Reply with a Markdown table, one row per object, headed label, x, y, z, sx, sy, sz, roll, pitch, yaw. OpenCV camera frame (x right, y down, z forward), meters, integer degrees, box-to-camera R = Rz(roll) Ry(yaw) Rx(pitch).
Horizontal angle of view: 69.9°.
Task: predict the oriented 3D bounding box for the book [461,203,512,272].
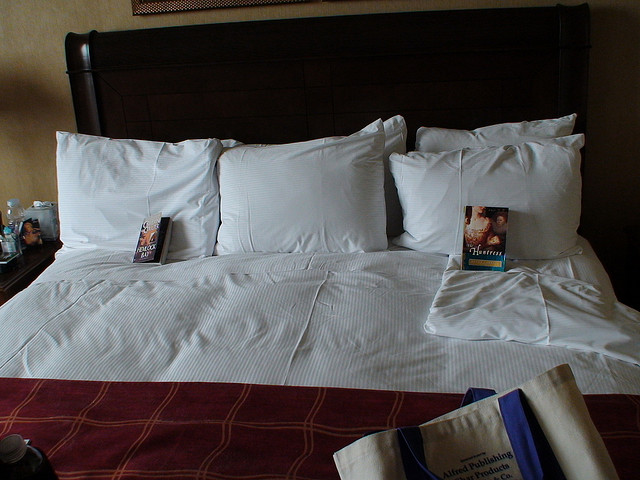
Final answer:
| label | x | y | z | sx | sy | sz | roll | pitch | yaw |
| --- | --- | --- | --- | --- | --- | --- | --- | --- | --- |
| book | 0.677 | -0.007 | 1.894 | 0.172 | 0.245 | 0.133 | 1 | 15 | 17 |

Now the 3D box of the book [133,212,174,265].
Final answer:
| label | x | y | z | sx | sy | sz | roll | pitch | yaw |
| --- | --- | --- | --- | --- | --- | --- | --- | --- | --- |
| book | -0.771 | -0.013 | 2.157 | 0.241 | 0.231 | 0.054 | -6 | -15 | 38 |
